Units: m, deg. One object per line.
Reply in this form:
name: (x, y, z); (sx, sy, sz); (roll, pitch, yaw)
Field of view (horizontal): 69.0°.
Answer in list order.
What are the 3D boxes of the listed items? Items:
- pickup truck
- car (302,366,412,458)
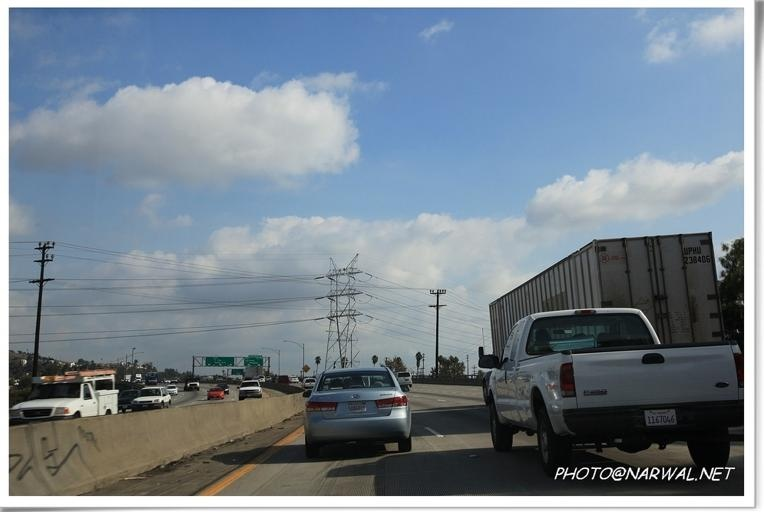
pickup truck: (4.000, 2.498, 10.758); (3.905, 2.920, 4.506); (-1, -12, 4)
car: (-0.550, 3.508, 12.481); (2.318, 1.920, 1.133); (1, -11, -6)
